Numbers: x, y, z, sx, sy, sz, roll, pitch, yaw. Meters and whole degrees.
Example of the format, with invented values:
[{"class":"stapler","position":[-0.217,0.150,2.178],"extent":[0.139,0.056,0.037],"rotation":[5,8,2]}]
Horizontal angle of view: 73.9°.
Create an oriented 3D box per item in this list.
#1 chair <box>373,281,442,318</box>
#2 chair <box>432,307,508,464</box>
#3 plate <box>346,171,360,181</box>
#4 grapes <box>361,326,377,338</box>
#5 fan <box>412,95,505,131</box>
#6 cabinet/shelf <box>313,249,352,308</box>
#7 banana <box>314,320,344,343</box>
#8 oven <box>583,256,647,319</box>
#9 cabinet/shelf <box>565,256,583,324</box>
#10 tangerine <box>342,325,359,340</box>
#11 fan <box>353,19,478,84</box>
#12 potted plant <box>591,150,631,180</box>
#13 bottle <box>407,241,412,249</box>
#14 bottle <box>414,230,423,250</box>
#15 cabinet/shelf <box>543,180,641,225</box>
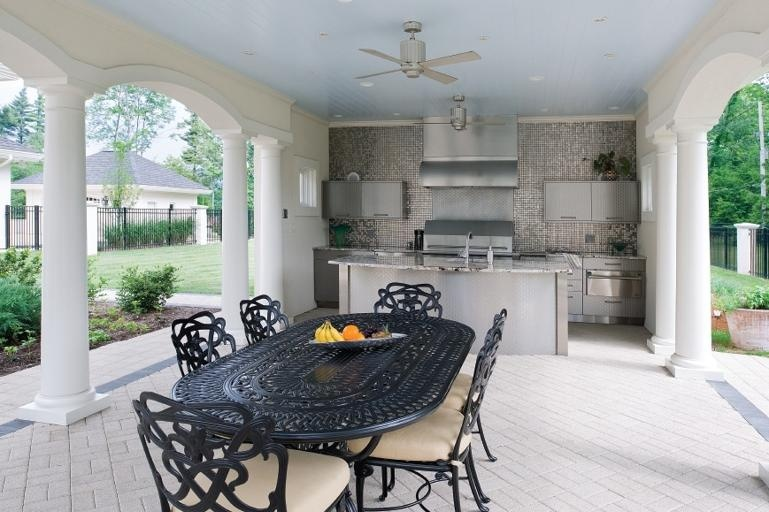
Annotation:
[{"class":"chair","position":[0.232,0.480,5.693],"extent":[0.700,0.358,1.155],"rotation":[-1,2,-1]},{"class":"chair","position":[0.700,1.053,4.327],"extent":[0.805,1.205,0.656],"rotation":[7,4,8]},{"class":"plate","position":[-0.627,-1.548,9.827],"extent":[0.267,0.201,0.253],"rotation":[-1,2,-1]},{"class":"grapes","position":[-0.133,0.649,4.310],"extent":[0.084,0.032,0.099],"rotation":[-1,0,-1]},{"class":"fan","position":[1.334,-2.328,8.748],"extent":[0.994,0.327,0.970],"rotation":[-2,3,-41]},{"class":"cabinet/shelf","position":[-1.026,0.398,9.448],"extent":[0.519,1.111,0.334],"rotation":[0,3,27]},{"class":"banana","position":[-0.471,0.614,4.133],"extent":[0.172,0.081,0.206],"rotation":[1,27,-8]},{"class":"oven","position":[3.821,0.527,8.815],"extent":[1.375,1.313,1.010],"rotation":[0,0,18]},{"class":"cabinet/shelf","position":[3.138,0.539,8.486],"extent":[0.233,1.146,0.342],"rotation":[1,4,42]},{"class":"tangerine","position":[-0.273,0.620,4.121],"extent":[0.130,0.113,0.129],"rotation":[-2,-8,-39]},{"class":"fan","position":[0.286,-2.139,5.259],"extent":[1.407,0.433,1.280],"rotation":[5,19,24]},{"class":"potted plant","position":[3.932,-1.547,8.794],"extent":[0.671,0.386,0.610],"rotation":[1,1,-13]},{"class":"bottle","position":[0.474,-0.202,9.764],"extent":[0.132,0.134,0.121],"rotation":[-1,-1,4]},{"class":"bottle","position":[0.629,-0.303,9.556],"extent":[0.171,0.382,0.195],"rotation":[-1,3,8]},{"class":"cabinet/shelf","position":[3.521,-0.930,8.990],"extent":[1.817,0.722,0.501],"rotation":[-2,2,-12]}]
